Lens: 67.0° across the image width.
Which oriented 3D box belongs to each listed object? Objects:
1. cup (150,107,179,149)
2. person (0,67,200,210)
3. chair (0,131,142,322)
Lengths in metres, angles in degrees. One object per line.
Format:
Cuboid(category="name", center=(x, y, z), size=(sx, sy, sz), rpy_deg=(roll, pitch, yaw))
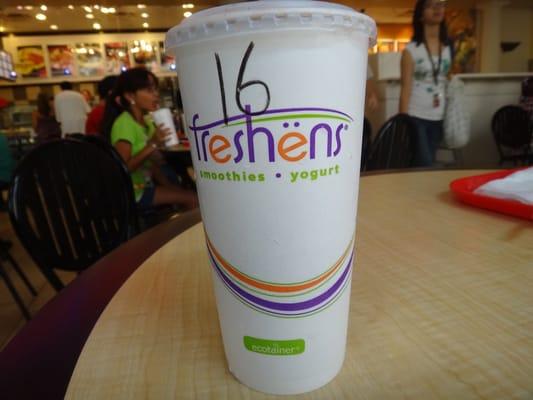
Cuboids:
Cuboid(category="cup", center=(-0.589, -0.422, 2.292), size=(0.145, 0.274, 0.162), rpy_deg=(-6, 5, -2))
Cuboid(category="person", center=(-0.905, -0.383, 2.199), size=(0.739, 1.005, 0.581), rpy_deg=(-8, 19, -30))
Cuboid(category="chair", center=(-0.580, -0.023, 1.424), size=(0.394, 0.607, 0.421), rpy_deg=(-29, 54, -36))
